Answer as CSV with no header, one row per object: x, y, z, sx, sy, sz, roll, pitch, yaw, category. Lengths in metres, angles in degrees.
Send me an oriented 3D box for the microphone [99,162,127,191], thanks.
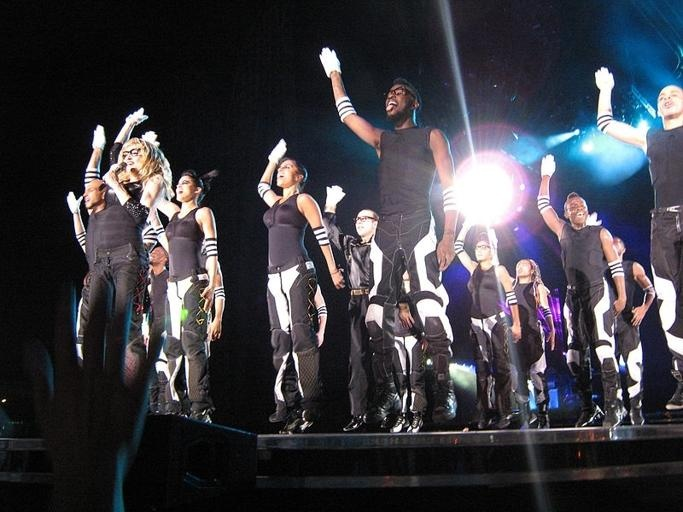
-1.743,-0.640,4.552,0.146,0.221,0.087,17,-22,17,microphone

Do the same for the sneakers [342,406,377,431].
0.167,1.306,4.717,0.430,0.190,0.141,15,-28,-37,sneakers
